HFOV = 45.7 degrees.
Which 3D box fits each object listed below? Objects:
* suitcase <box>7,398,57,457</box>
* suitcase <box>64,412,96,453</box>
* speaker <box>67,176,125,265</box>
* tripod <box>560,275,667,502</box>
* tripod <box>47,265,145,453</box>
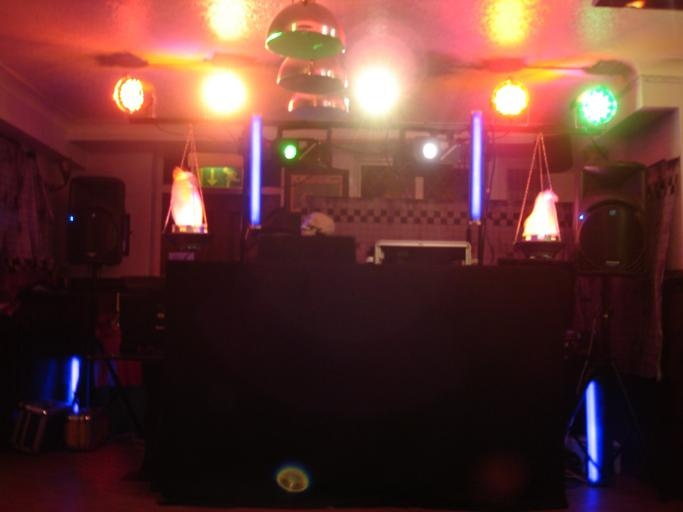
[{"bbox_3d":[-2.556,1.398,6.648,0.340,0.537,0.340,15,-13,-37],"label":"suitcase"},{"bbox_3d":[-2.165,1.451,6.711,0.210,0.371,0.401,1,-5,-5],"label":"suitcase"},{"bbox_3d":[-2.743,-0.408,9.149,0.681,1.005,0.708,3,0,-20],"label":"speaker"},{"bbox_3d":[2.152,0.936,6.430,0.663,1.171,1.034,2,0,18],"label":"tripod"},{"bbox_3d":[-1.943,0.894,6.700,0.555,1.589,1.472,3,0,-19],"label":"tripod"}]
